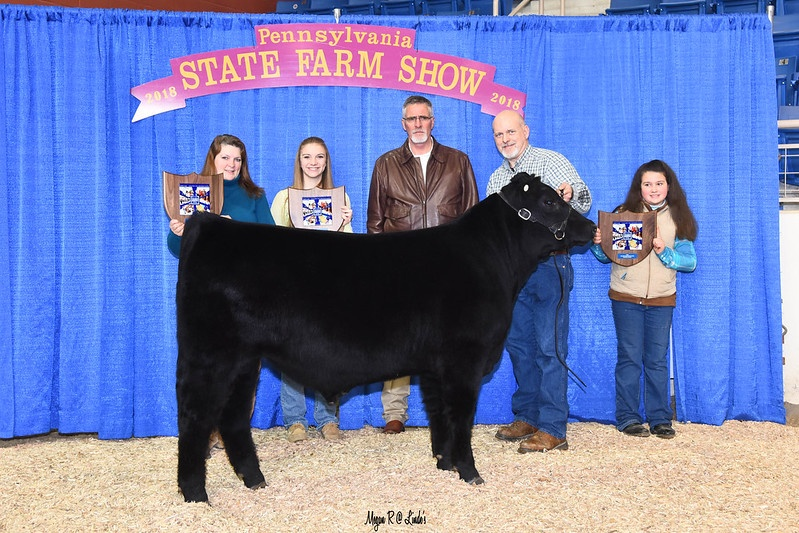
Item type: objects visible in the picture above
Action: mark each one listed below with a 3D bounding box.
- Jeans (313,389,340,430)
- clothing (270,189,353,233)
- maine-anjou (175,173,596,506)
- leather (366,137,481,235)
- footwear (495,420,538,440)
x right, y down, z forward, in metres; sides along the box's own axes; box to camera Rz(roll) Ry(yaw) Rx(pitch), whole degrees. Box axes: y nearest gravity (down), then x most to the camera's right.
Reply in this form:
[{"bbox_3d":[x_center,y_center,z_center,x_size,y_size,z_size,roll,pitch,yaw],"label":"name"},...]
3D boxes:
[{"bbox_3d":[-0.731,1.306,8.015,0.098,0.089,0.323,-24,38,-16],"label":"Jeans"},{"bbox_3d":[-0.754,-0.474,7.441,0.427,0.356,0.049,-2,-5,-7],"label":"clothing"},{"bbox_3d":[-0.161,0.584,7.076,2.686,1.840,0.737,0,-7,-9],"label":"maine-anjou"},{"bbox_3d":[0.200,-0.662,7.953,1.082,0.892,0.532,0,16,1],"label":"leather"},{"bbox_3d":[1.042,1.464,7.851,0.376,0.146,0.155,3,-1,-27],"label":"footwear"}]
